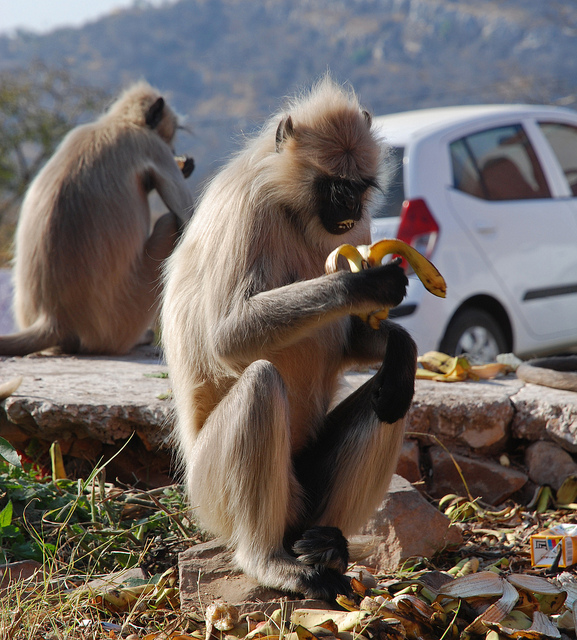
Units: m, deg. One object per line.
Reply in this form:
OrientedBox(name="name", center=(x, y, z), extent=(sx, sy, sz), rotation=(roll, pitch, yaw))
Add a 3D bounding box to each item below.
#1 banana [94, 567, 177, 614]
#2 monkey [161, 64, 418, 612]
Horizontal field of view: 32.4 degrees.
OrientedBox(name="banana", center=(-0.497, 0.946, 3.451), extent=(0.343, 0.109, 0.140), rotation=(-15, 18, -39))
OrientedBox(name="monkey", center=(0.329, 0.019, 3.714), extent=(1.184, 1.710, 1.252), rotation=(-2, 20, -19))
